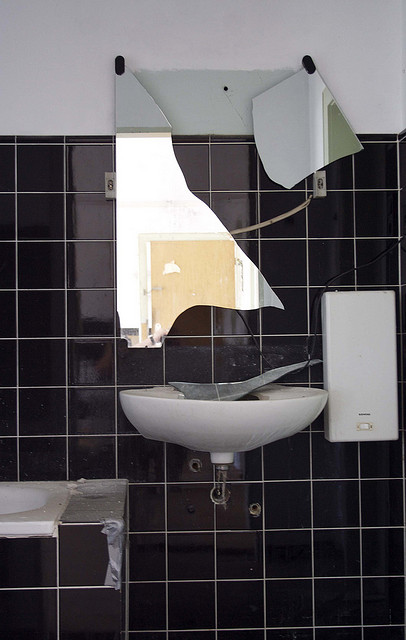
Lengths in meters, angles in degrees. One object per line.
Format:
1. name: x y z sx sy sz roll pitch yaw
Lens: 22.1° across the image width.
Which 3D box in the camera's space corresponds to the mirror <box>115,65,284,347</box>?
1. mirror: -0.035 -0.361 3.399 0.666 1.233 0.083 -1 -2 -7
